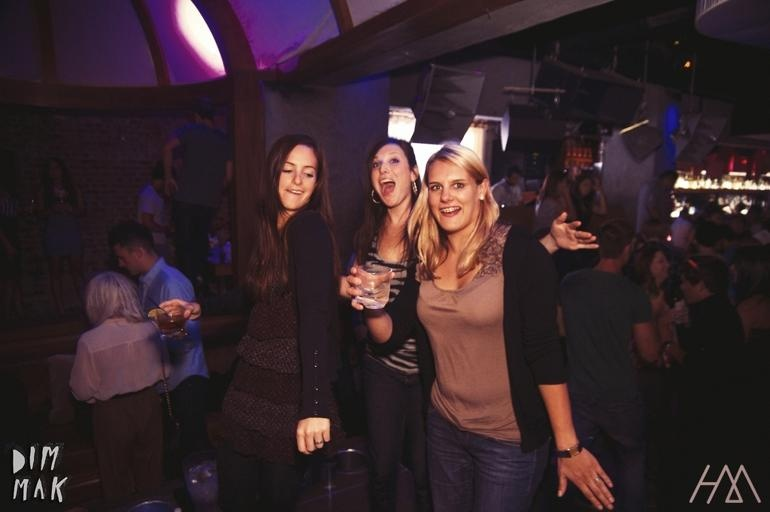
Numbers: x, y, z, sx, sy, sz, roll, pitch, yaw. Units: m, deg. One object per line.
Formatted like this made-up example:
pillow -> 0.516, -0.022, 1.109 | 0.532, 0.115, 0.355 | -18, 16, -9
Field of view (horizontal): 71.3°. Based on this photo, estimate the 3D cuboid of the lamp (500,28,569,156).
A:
lamp -> 2.160, -2.219, 7.882 | 0.986, 1.213, 0.976 | -8, 20, -34

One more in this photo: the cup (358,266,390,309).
cup -> -0.069, 0.203, 3.844 | 0.268, 0.296, 0.265 | 5, 11, -1

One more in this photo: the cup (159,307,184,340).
cup -> -1.609, 0.507, 4.016 | 0.210, 0.173, 0.197 | 0, 4, 0
